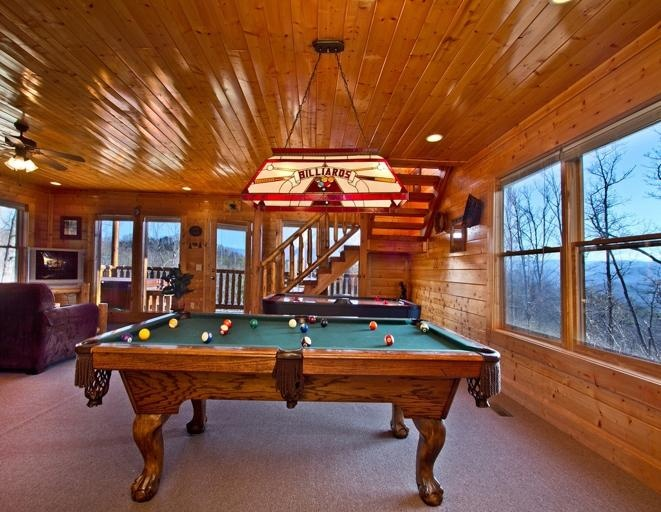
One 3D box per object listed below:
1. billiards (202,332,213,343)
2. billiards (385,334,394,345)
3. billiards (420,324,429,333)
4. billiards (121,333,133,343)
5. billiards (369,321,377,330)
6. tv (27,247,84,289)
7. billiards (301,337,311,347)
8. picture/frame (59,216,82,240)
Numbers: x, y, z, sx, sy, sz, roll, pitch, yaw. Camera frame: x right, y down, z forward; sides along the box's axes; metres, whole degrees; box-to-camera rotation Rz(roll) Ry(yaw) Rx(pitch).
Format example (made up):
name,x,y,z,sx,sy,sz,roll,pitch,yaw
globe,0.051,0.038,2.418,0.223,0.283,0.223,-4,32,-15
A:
name,x,y,z,sx,sy,sz,roll,pitch,yaw
billiards,-0.926,0.616,3.688,0.083,0.073,0.076,-1,-1,-27
billiards,0.444,0.633,3.689,0.075,0.066,0.071,2,6,22
billiards,0.796,0.599,4.058,0.055,0.048,0.065,0,-11,9
billiards,-1.506,0.600,3.590,0.063,0.072,0.077,0,3,-20
billiards,0.379,0.596,4.150,0.060,0.056,0.057,-2,0,-26
tv,-4.465,0.196,7.927,0.578,0.803,0.970,-4,-4,42
billiards,-0.175,0.636,3.600,0.070,0.066,0.058,6,-9,-26
picture/frame,-4.518,-0.511,8.399,0.482,0.545,0.050,1,2,-5
